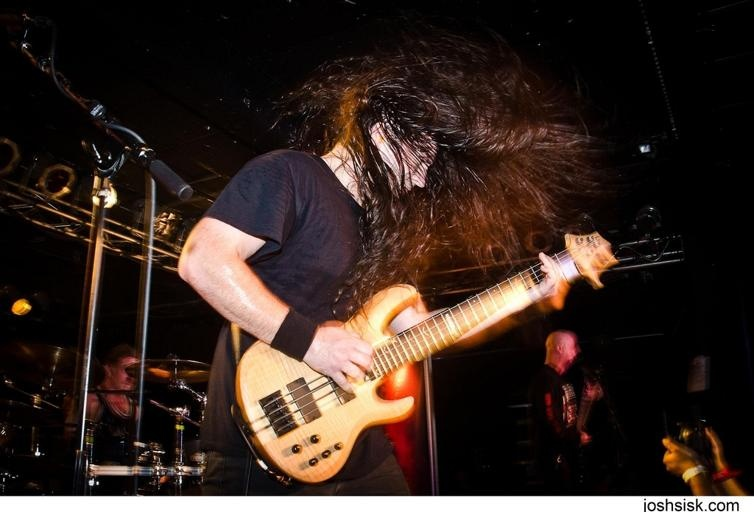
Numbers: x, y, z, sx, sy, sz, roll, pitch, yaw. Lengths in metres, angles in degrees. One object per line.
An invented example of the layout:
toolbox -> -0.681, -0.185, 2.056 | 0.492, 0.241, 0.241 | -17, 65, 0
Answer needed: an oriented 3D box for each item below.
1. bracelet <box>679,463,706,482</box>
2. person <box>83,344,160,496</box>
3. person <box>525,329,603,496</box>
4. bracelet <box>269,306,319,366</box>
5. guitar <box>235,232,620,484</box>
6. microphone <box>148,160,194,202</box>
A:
bracelet -> 2.404, 1.660, 4.318 | 0.139, 0.049, 0.135 | -17, -20, -4
person -> -3.318, 2.242, 7.402 | 0.748, 2.240, 0.661 | 5, 21, 4
person -> 2.572, 2.178, 7.664 | 0.913, 0.907, 2.760 | -14, -37, 8
bracelet -> -0.501, 0.484, 3.445 | 0.287, 0.310, 0.092 | -3, -14, -23
guitar -> 0.366, 0.590, 4.154 | 2.849, 1.009, 0.353 | -25, 2, -23
microphone -> -1.364, -0.505, 3.806 | 0.284, 0.323, 0.166 | -10, -13, 7
